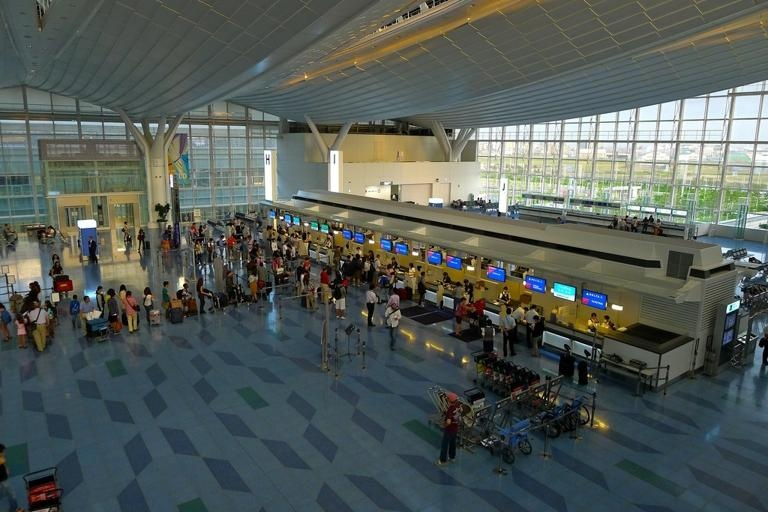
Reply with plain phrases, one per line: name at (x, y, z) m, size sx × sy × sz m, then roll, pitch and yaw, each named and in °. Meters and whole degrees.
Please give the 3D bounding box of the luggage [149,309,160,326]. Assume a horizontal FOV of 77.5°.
luggage at (-9.197, 2.433, 19.297) m, size 0.320 × 0.611 × 0.415 m, roll 0°, pitch 12°, yaw 6°

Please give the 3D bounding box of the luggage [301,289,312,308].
luggage at (-3.428, 1.855, 21.166) m, size 0.479 × 0.814 × 0.654 m, roll -10°, pitch 20°, yaw -42°

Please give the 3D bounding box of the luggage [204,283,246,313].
luggage at (-6.960, 1.883, 21.253) m, size 1.598 × 0.950 × 0.963 m, roll -10°, pitch 19°, yaw -29°

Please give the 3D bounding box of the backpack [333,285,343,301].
backpack at (-1.900, 1.493, 19.957) m, size 0.416 × 0.641 × 0.365 m, roll -2°, pitch 12°, yaw -5°

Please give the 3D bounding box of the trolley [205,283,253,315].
trolley at (-6.935, 1.878, 21.231) m, size 1.746 × 0.890 × 1.090 m, roll -10°, pitch 18°, yaw -30°

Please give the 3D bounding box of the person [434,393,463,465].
person at (1.728, 4.609, 12.749) m, size 0.539 × 1.809 × 0.694 m, roll 7°, pitch 0°, yaw 41°

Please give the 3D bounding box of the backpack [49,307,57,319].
backpack at (-13.093, 2.249, 18.984) m, size 0.235 × 0.484 × 0.149 m, roll 12°, pitch -30°, yaw -37°

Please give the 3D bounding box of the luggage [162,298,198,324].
luggage at (-8.368, 2.230, 19.699) m, size 1.099 × 1.026 × 0.420 m, roll -9°, pitch 7°, yaw -37°

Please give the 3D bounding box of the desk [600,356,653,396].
desk at (8.166, 3.899, 16.177) m, size 0.681 × 0.916 × 1.554 m, roll 8°, pitch 5°, yaw -24°

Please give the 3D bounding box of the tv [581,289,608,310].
tv at (7.792, 1.544, 17.735) m, size 0.107 × 0.524 × 0.814 m, roll -12°, pitch 20°, yaw -41°

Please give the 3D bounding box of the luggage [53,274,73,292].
luggage at (-14.517, 1.213, 21.746) m, size 0.818 × 0.809 × 0.885 m, roll -1°, pitch 2°, yaw 44°

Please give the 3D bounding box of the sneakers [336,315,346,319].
sneakers at (-1.818, 2.570, 20.139) m, size 0.317 × 0.124 × 0.120 m, roll 2°, pitch 8°, yaw 14°

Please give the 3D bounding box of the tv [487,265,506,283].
tv at (4.987, 0.811, 21.340) m, size 0.425 × 0.735 × 0.972 m, roll -8°, pitch 14°, yaw -31°

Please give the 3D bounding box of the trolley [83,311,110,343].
trolley at (-10.851, 2.640, 18.126) m, size 0.822 × 0.543 × 1.174 m, roll -9°, pitch 24°, yaw -44°
